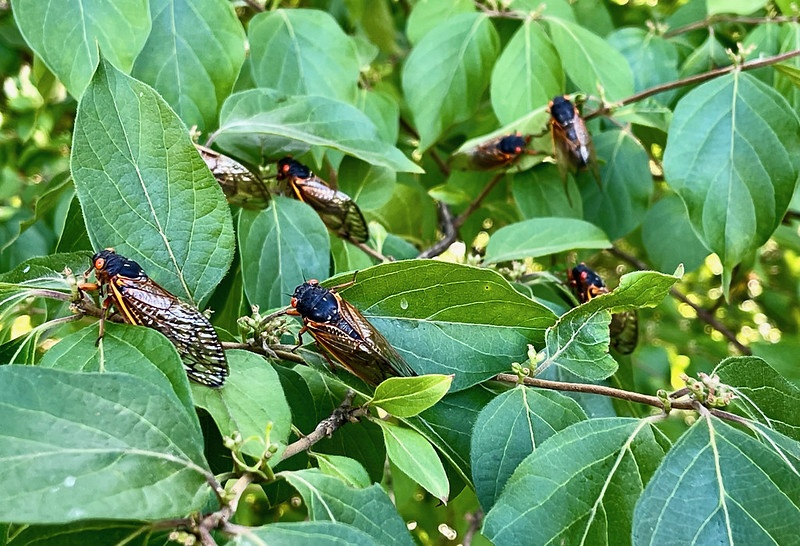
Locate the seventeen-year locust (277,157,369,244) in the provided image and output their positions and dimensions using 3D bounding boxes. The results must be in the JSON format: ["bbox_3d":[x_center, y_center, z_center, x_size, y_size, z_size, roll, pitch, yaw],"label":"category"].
[{"bbox_3d":[-0.236,-0.234,2.557,0.389,0.168,0.132,33,51,23],"label":"seventeen-year locust"}]

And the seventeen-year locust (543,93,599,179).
[{"bbox_3d":[0.549,-0.433,2.491,0.157,0.228,0.067,-10,17,9],"label":"seventeen-year locust"}]

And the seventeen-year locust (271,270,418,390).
[{"bbox_3d":[-0.143,0.159,1.995,0.355,0.109,0.264,45,87,-1],"label":"seventeen-year locust"}]
